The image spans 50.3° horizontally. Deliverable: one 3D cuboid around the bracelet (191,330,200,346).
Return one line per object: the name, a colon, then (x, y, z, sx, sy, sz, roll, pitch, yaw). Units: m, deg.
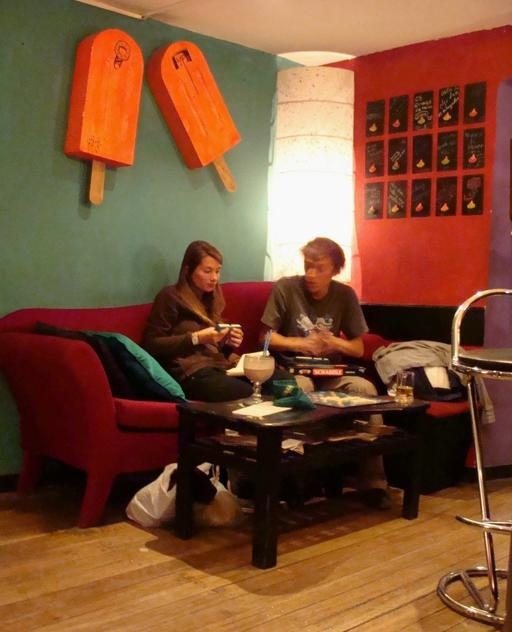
bracelet: (-0.282, 0.103, 2.497, 0.022, 0.049, 0.038, 3, 6, 3)

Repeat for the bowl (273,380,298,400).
bowl: (0.108, 0.258, 1.936, 0.067, 0.054, 0.078, 1, 4, -33)

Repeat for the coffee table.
coffee table: (0.145, 0.557, 2.005, 0.820, 0.479, 0.529, 6, -6, -44)

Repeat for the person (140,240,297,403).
person: (-0.279, 0.076, 3.048, 0.824, 0.998, 0.689, -4, -7, 26)

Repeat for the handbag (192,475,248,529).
handbag: (-0.121, 0.686, 1.985, 0.167, 0.151, 0.065, 4, -18, -40)
